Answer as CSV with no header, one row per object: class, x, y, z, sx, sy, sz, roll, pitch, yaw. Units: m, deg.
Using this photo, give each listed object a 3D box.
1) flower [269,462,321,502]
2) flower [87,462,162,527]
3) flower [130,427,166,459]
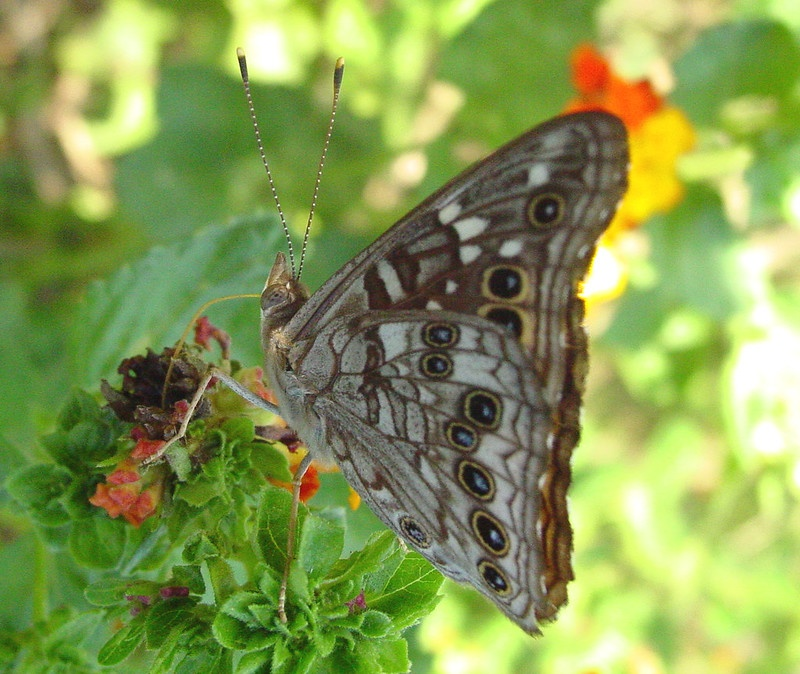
flower,-0.204,0.291,2.128,0.023,0.078,0.089,-9,13,39
flower,-0.511,0.297,1.994,0.139,0.123,0.054,28,-2,-9
flower,-0.479,0.201,2.002,0.070,0.050,0.023,7,-17,-16
